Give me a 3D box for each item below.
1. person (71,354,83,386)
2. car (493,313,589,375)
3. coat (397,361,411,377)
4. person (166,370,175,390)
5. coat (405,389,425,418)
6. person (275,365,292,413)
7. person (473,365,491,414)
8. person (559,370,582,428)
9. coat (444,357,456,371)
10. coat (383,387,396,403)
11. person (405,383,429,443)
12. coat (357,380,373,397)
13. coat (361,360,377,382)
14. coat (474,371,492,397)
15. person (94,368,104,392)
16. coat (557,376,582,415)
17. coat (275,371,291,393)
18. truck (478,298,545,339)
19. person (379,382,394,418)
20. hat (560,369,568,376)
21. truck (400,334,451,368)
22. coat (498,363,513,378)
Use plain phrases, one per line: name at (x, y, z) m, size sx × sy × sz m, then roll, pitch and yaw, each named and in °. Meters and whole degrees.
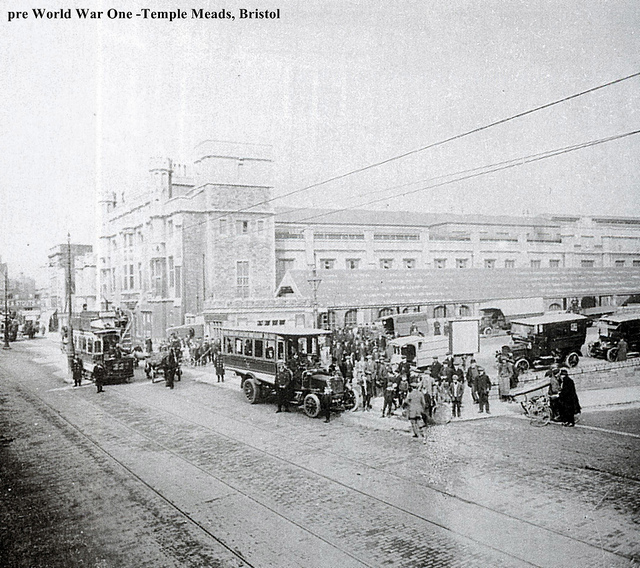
person at (-9.016, 3.260, 27.512) m, size 0.311 × 0.920 × 1.415 m, roll -3°, pitch 10°, yaw -19°
car at (8.927, 2.336, 28.272) m, size 3.054 × 1.989 × 1.484 m, roll -8°, pitch -7°, yaw 31°
coat at (2.791, 2.785, 24.444) m, size 0.253 × 0.508 × 0.458 m, roll 4°, pitch -5°, yaw -42°
person at (-5.524, 3.503, 27.367) m, size 0.290 × 0.796 × 0.566 m, roll -2°, pitch 10°, yaw -14°
coat at (2.622, 3.259, 20.189) m, size 0.516 × 0.514 × 1.368 m, roll -1°, pitch -36°, yaw 6°
person at (-1.178, 3.386, 23.350) m, size 0.496 × 1.328 × 0.446 m, roll -3°, pitch 9°, yaw -18°
person at (4.967, 3.283, 22.683) m, size 0.495 × 1.215 × 0.844 m, roll 2°, pitch 9°, yaw 10°
person at (6.952, 3.131, 20.541) m, size 0.576 × 1.504 × 0.518 m, roll 3°, pitch 10°, yaw 20°
coat at (4.237, 2.577, 23.784) m, size 0.249 × 0.390 × 0.132 m, roll -14°, pitch -13°, yaw -19°
coat at (2.114, 3.280, 22.340) m, size 0.258 × 0.417 × 0.600 m, roll 3°, pitch 10°, yaw 18°
person at (2.651, 3.537, 20.158) m, size 0.647 × 1.249 × 0.736 m, roll 1°, pitch 9°, yaw 7°
coat at (1.452, 3.345, 23.625) m, size 0.490 × 0.565 × 0.150 m, roll 2°, pitch -12°, yaw -40°
coat at (1.675, 2.813, 24.269) m, size 0.410 × 0.449 × 1.105 m, roll 1°, pitch 10°, yaw 5°
coat at (4.957, 3.037, 22.515) m, size 0.412 × 0.604 × 0.377 m, roll 3°, pitch 10°, yaw 19°
person at (-7.862, 3.372, 26.315) m, size 0.230 × 0.811 × 1.011 m, roll -3°, pitch 10°, yaw -15°
coat at (6.891, 3.061, 20.431) m, size 0.586 × 1.095 × 0.288 m, roll 3°, pitch 10°, yaw 20°
coat at (-1.148, 3.094, 23.425) m, size 0.612 × 0.956 × 0.501 m, roll 0°, pitch -9°, yaw -2°
truck at (9.510, 1.474, 38.590) m, size 2.993 × 1.760 × 1.479 m, roll -11°, pitch 19°, yaw -31°
person at (2.081, 3.501, 22.409) m, size 0.312 × 0.888 × 0.645 m, roll 1°, pitch 9°, yaw 8°
hat at (6.820, 2.458, 20.565) m, size 0.120 × 0.159 × 0.169 m, roll 1°, pitch -12°, yaw 5°
truck at (4.471, 2.768, 30.817) m, size 2.877 × 1.216 × 0.743 m, roll -10°, pitch 13°, yaw -43°
coat at (6.000, 2.703, 23.648) m, size 0.535 × 0.460 × 0.296 m, roll -5°, pitch 10°, yaw -26°
